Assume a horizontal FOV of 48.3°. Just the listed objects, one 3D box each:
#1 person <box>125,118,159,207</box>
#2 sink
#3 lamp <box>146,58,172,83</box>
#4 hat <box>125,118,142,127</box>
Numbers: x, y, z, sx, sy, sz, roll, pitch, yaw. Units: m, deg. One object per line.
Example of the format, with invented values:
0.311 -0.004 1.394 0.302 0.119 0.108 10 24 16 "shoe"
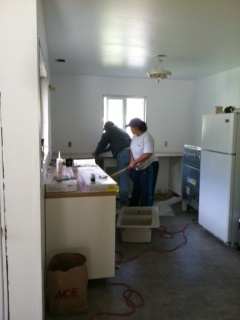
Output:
0.324 0.073 3.862 0.448 1.316 0.536 2 5 10 "person"
0.234 0.826 3.416 0.498 0.334 0.651 2 6 7 "sink"
0.578 -1.217 3.743 0.405 0.372 0.411 -3 13 -12 "lamp"
0.180 -0.518 3.715 0.133 0.118 0.320 -1 6 -22 "hat"
